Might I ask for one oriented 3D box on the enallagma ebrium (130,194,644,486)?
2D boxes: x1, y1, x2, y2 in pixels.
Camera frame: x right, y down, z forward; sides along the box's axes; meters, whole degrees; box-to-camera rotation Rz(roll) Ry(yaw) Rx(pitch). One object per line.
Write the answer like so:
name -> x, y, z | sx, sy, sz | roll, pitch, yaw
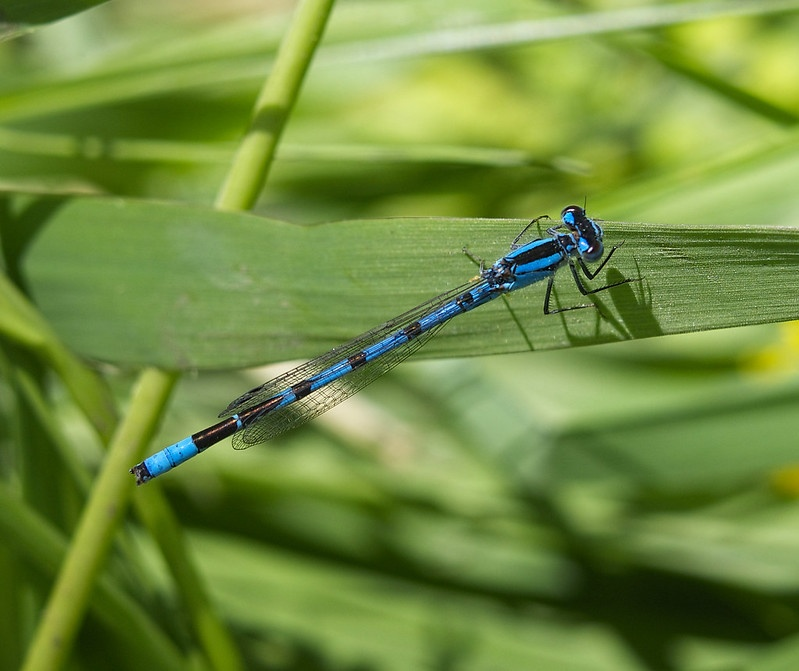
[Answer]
enallagma ebrium -> 0.105, -0.125, 6.673 | 4.694, 1.249, 3.463 | -11, 12, 6
